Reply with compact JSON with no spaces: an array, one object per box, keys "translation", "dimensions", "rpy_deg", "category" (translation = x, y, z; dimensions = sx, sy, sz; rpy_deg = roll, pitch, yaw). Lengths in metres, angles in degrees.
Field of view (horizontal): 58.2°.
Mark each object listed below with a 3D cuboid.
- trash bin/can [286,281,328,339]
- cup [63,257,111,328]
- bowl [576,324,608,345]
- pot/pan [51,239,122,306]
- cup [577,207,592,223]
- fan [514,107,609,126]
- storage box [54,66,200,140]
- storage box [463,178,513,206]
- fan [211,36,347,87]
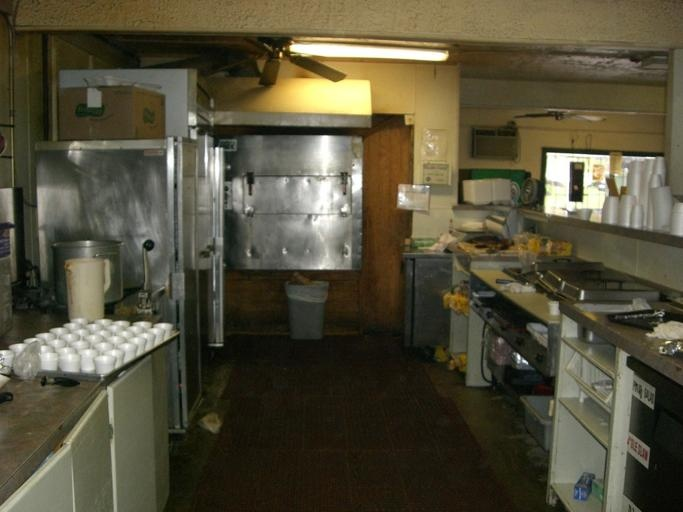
[{"translation":[-0.376,0.588,6.621],"dimensions":[0.571,0.667,0.550],"rpy_deg":[1,-1,-1],"category":"trash bin/can"},{"translation":[-1.405,0.186,3.388],"dimensions":[0.146,0.323,0.193],"rpy_deg":[7,13,28],"category":"cup"},{"translation":[1.407,0.451,3.476],"dimensions":[0.121,0.088,0.120],"rpy_deg":[-1,3,0],"category":"bowl"},{"translation":[-1.533,0.101,3.783],"dimensions":[0.450,0.330,0.353],"rpy_deg":[0,2,-14],"category":"pot/pan"},{"translation":[1.794,-0.299,4.528],"dimensions":[0.111,0.085,0.119],"rpy_deg":[1,-2,0],"category":"cup"},{"translation":[2.818,-1.857,8.110],"dimensions":[1.125,0.130,1.652],"rpy_deg":[4,12,20],"category":"fan"},{"translation":[-1.479,-1.093,4.370],"dimensions":[0.869,0.491,0.644],"rpy_deg":[-2,12,-10],"category":"storage box"},{"translation":[1.543,-0.669,6.450],"dimensions":[0.347,0.228,0.342],"rpy_deg":[-3,7,-18],"category":"storage box"},{"translation":[-0.626,-1.778,5.765],"dimensions":[1.096,0.370,1.972],"rpy_deg":[-3,12,-17],"category":"fan"}]
